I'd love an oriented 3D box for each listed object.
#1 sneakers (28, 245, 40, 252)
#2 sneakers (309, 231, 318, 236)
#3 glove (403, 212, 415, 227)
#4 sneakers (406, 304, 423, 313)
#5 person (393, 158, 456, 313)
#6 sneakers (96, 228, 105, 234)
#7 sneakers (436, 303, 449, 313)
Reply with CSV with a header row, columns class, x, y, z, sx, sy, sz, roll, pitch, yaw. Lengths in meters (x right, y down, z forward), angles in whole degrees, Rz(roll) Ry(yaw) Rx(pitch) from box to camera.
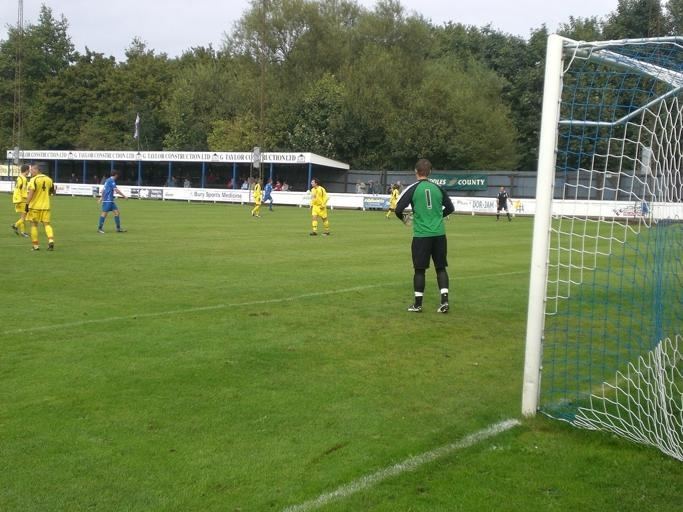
class,x,y,z,sx,sy,sz,roll,pitch,yaw
sneakers,-6.109,-0.147,15.079,0.097,0.123,0.288,-1,10,-37
sneakers,-0.742,-0.588,20.221,0.140,0.095,0.048,24,58,26
glove,0.928,-0.482,10.319,0.105,0.136,0.316,-6,9,-1
sneakers,0.945,0.665,9.768,0.082,0.123,0.223,-2,8,-14
person,1.067,-0.266,9.766,0.732,1.948,0.630,1,12,5
sneakers,-6.077,-0.620,19.126,0.299,0.140,0.101,8,11,25
sneakers,1.325,0.670,9.739,0.074,0.095,0.203,6,3,-5
